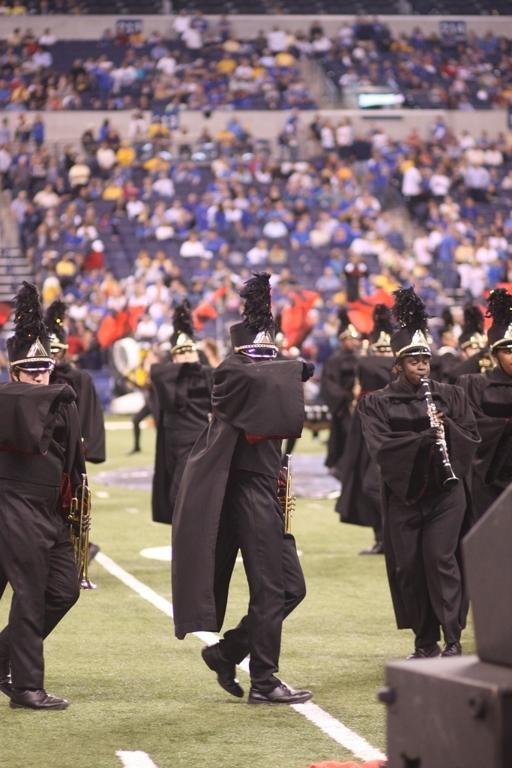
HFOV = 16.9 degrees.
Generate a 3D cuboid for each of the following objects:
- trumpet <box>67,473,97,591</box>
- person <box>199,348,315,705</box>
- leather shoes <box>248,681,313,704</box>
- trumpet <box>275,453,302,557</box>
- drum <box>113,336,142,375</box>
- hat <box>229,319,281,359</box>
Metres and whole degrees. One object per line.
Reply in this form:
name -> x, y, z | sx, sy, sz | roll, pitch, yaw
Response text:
trumpet -> -1.110, 0.923, 10.942 | 0.268, 0.609, 0.262 | -13, 23, -41
person -> 0.131, 0.796, 10.534 | 0.949, 2.307, 0.952 | 4, -11, -11
leather shoes -> 0.148, 1.845, 10.378 | 0.418, 0.156, 0.142 | -1, -6, 2
trumpet -> 0.209, 0.755, 10.831 | 0.173, 0.474, 0.154 | -7, 17, -38
drum -> -2.028, -0.392, 27.396 | 0.325, 0.641, 0.754 | -5, 13, -24
hat -> -0.023, -0.277, 10.788 | 0.334, 0.212, 0.191 | -4, 9, -36
